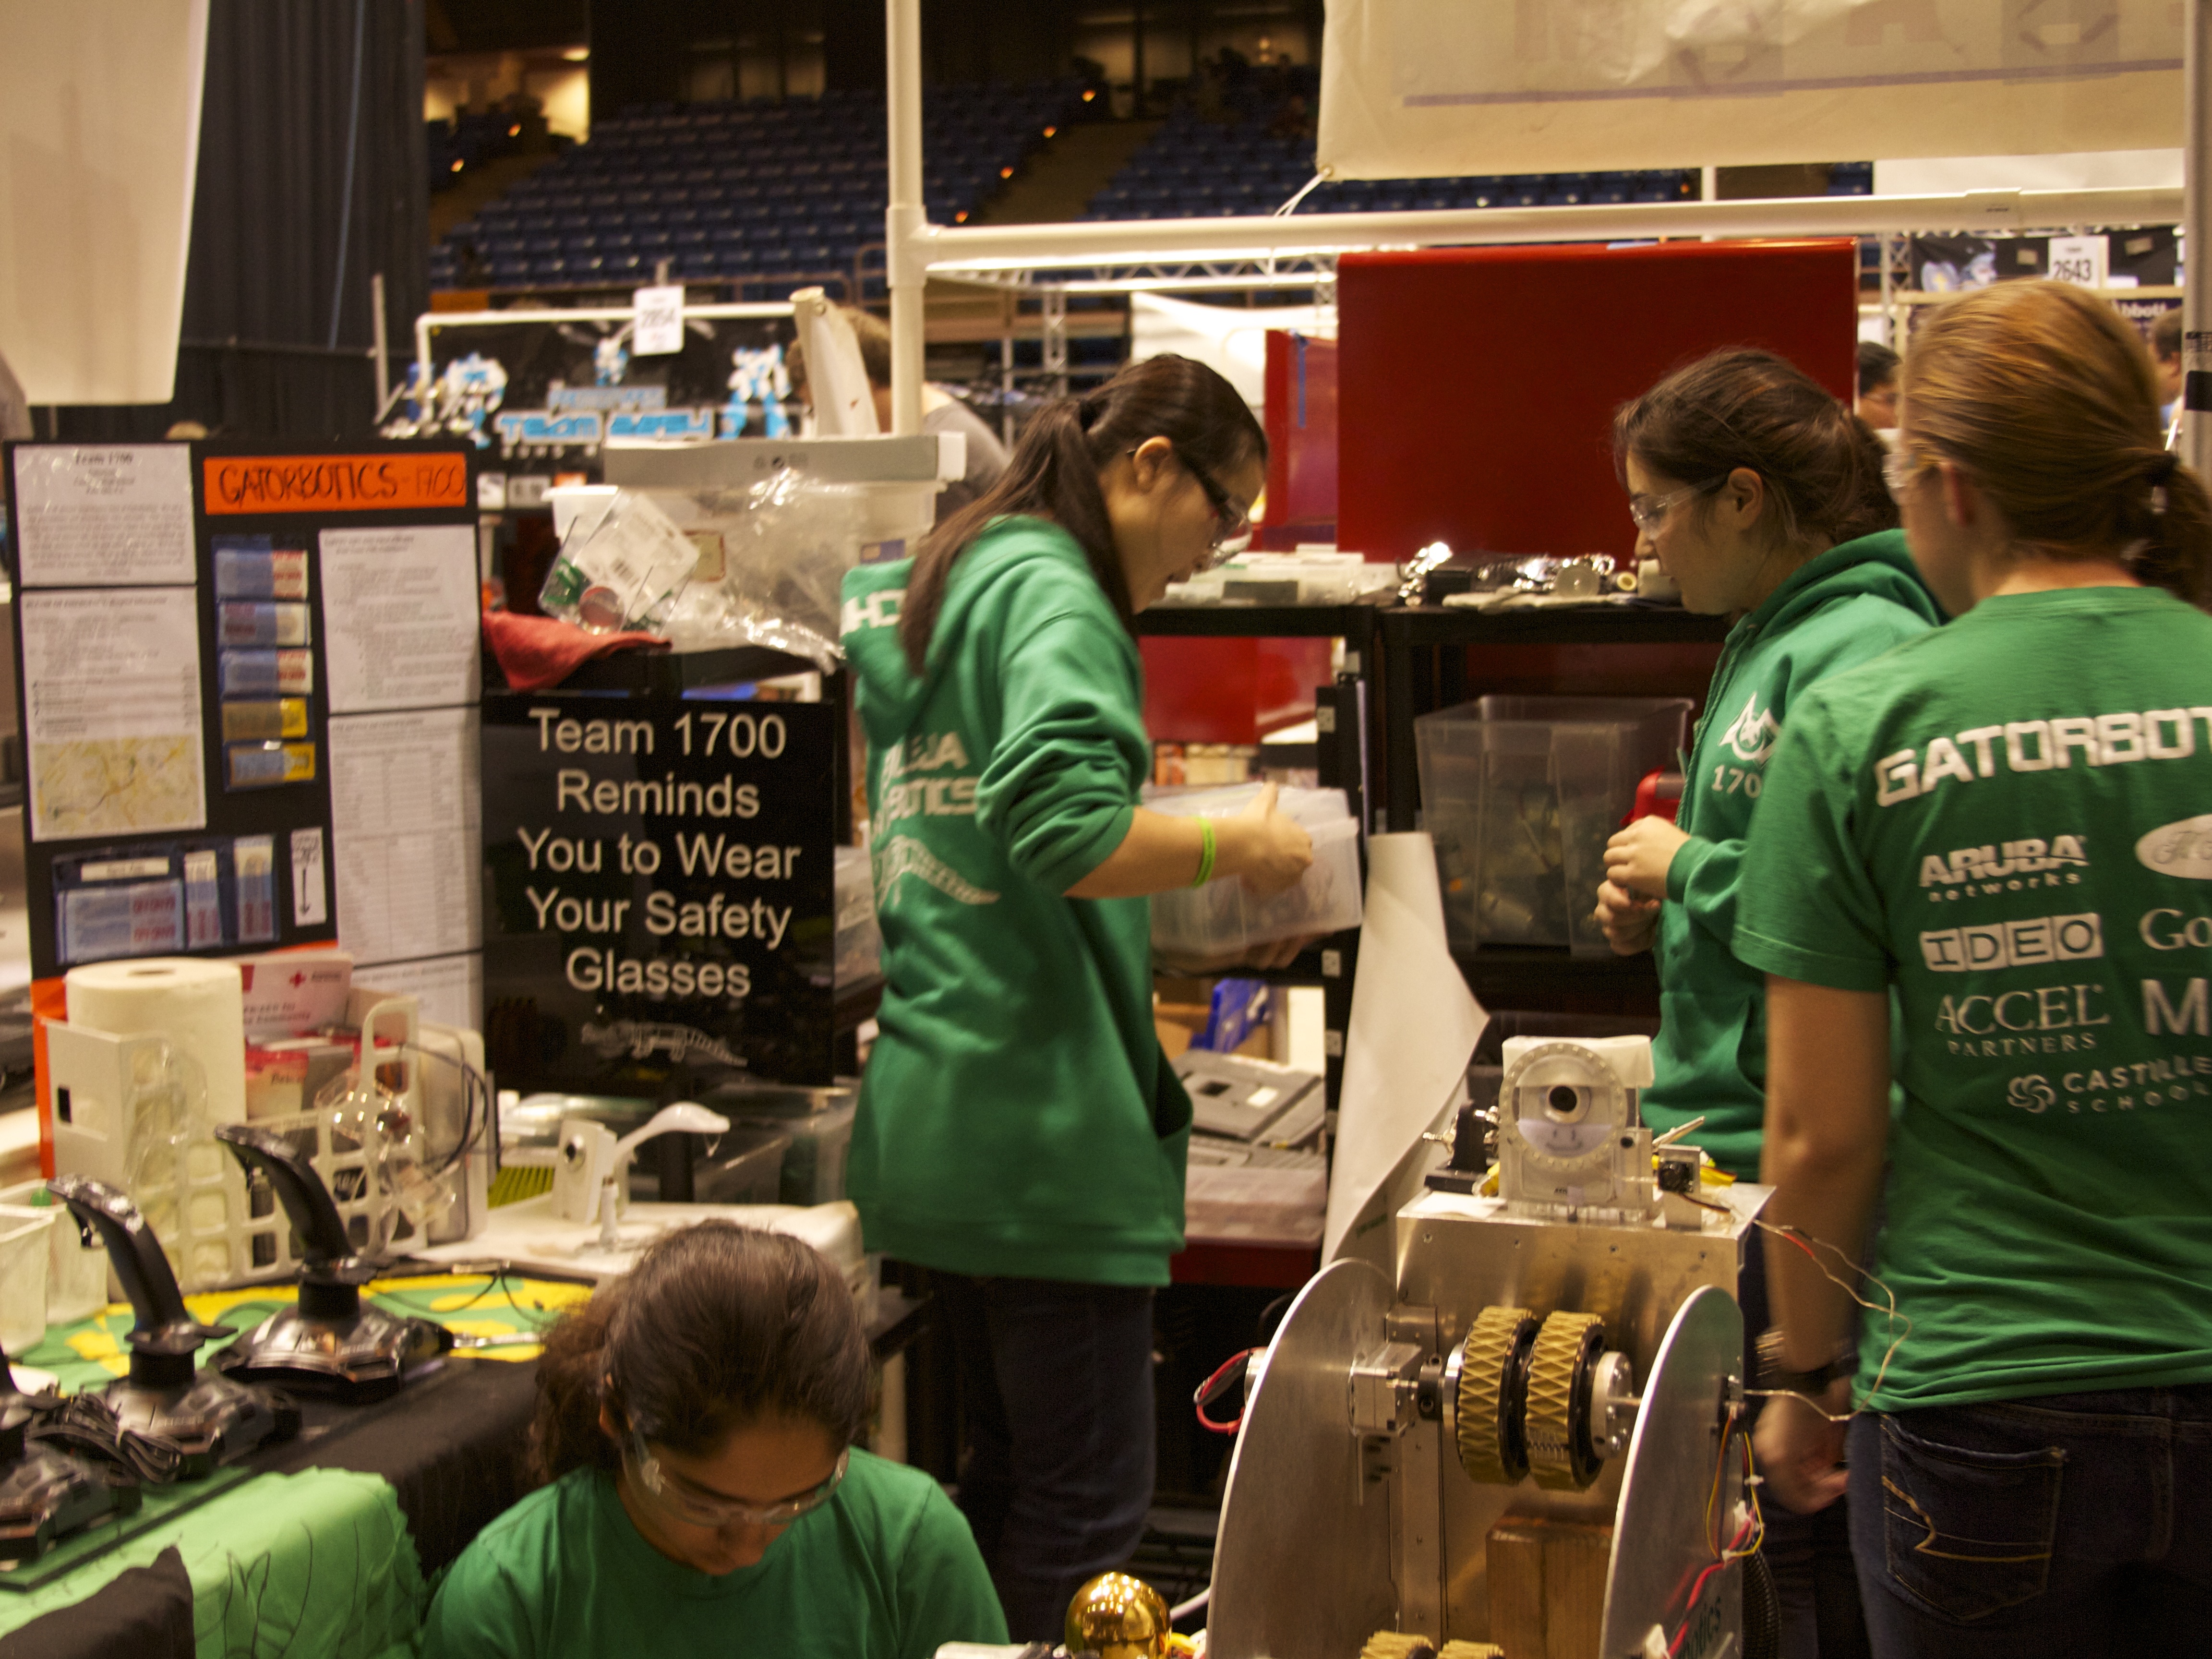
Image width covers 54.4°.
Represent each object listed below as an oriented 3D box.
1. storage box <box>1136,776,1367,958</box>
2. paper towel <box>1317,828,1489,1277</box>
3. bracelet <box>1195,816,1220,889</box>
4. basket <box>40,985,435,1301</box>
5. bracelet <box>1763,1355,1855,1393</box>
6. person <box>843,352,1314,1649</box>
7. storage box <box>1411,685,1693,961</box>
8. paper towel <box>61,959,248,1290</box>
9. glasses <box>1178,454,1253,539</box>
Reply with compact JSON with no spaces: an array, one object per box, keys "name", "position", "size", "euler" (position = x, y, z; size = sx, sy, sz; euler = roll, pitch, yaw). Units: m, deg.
[{"name":"storage box","position":[0.206,0.037,2.980],"size":[0.244,0.178,0.246],"euler":[-5,4,-26]},{"name":"paper towel","position":[0.404,0.276,2.922],"size":[0.220,0.367,0.323],"euler":[-3,1,12]},{"name":"bracelet","position":[0.122,0.023,2.470],"size":[0.018,0.052,0.051],"euler":[7,-17,-1]},{"name":"basket","position":[-1.020,0.346,2.638],"size":[0.259,0.370,0.512],"euler":[13,8,42]},{"name":"bracelet","position":[0.688,0.531,2.092],"size":[0.070,0.037,0.099],"euler":[-3,-6,7]},{"name":"person","position":[-0.046,0.187,2.527],"size":[0.583,1.103,0.393],"euler":[-3,2,5]},{"name":"storage box","position":[0.672,-0.059,3.466],"size":[0.297,0.447,0.362],"euler":[-1,14,14]},{"name":"paper towel","position":[-1.144,0.322,2.557],"size":[0.192,0.351,0.198],"euler":[14,20,22]},{"name":"glasses","position":[0.140,-0.395,2.581],"size":[0.027,0.092,0.088],"euler":[-31,-8,1]}]
